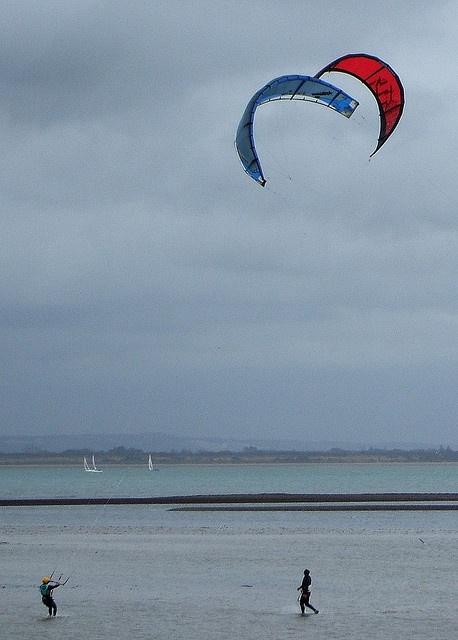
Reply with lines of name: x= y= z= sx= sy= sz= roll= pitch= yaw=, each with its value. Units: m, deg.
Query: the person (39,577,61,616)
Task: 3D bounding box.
person: x=-6.327 y=9.973 z=57.773 sx=0.553 sy=1.462 sz=1.700 roll=1 pitch=-28 yaw=-6
